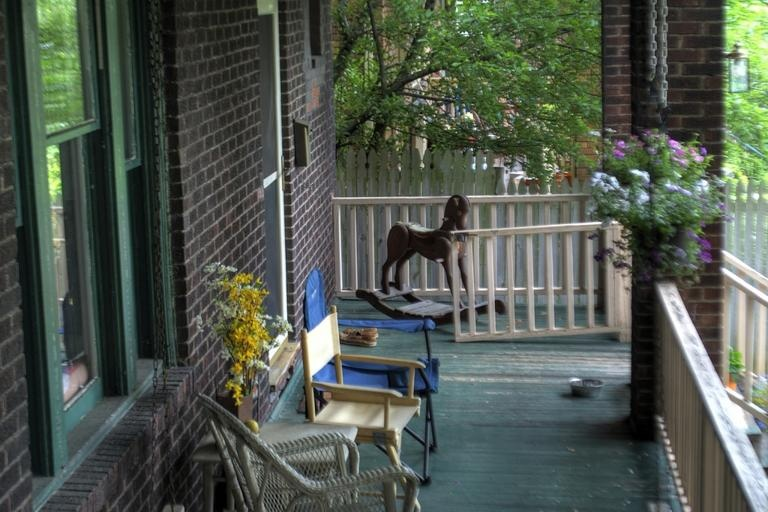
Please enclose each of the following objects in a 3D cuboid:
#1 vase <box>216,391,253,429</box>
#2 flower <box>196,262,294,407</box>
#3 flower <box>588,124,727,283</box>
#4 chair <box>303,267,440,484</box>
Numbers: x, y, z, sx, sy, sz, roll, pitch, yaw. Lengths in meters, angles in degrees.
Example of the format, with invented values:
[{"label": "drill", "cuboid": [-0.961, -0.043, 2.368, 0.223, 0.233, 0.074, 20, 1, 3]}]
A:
[{"label": "vase", "cuboid": [-0.968, 0.948, 4.932, 0.172, 0.279, 0.279, 1, 2, 12]}, {"label": "flower", "cuboid": [-1.021, 0.450, 5.093, 0.601, 0.904, 0.647, 2, -24, -32]}, {"label": "flower", "cuboid": [2.167, -0.444, 6.395, 1.041, 1.406, 1.203, 0, -8, 11]}, {"label": "chair", "cuboid": [-0.079, 0.919, 6.141, 1.056, 1.602, 1.205, -1, 11, -1]}]
